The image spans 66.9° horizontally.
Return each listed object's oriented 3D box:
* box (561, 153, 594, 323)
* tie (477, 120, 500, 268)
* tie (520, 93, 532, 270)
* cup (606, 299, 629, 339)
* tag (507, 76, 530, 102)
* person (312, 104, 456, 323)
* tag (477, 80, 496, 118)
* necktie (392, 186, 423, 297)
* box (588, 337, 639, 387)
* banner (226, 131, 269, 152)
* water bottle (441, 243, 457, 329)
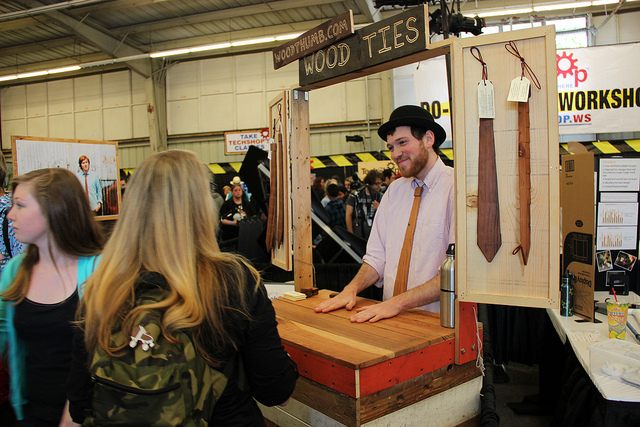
[{"bbox_3d":[1.838,0.154,3.482,0.145,1.143,0.453,-3,5,-3],"label":"box"},{"bbox_3d":[0.887,-0.160,2.588,0.015,0.855,0.133,-2,0,-39],"label":"tie"},{"bbox_3d":[1.075,-0.152,2.539,0.057,0.850,0.064,0,6,21],"label":"tie"},{"bbox_3d":[1.886,0.667,3.085,0.106,0.235,0.294,1,7,32],"label":"cup"},{"bbox_3d":[1.032,-0.651,2.519,0.119,0.172,0.014,4,-13,11],"label":"tag"},{"bbox_3d":[0.497,-0.027,3.101,0.760,1.315,0.758,0,6,20],"label":"person"},{"bbox_3d":[0.875,-0.605,2.561,0.083,0.200,0.043,-1,6,14],"label":"tag"},{"bbox_3d":[0.573,0.180,3.124,0.218,0.693,0.094,-5,6,-29],"label":"necktie"},{"bbox_3d":[1.607,0.791,2.640,0.210,0.135,0.212,-3,3,-31],"label":"box"},{"bbox_3d":[-1.995,-1.960,13.276,1.094,0.540,0.399,0,6,21],"label":"banner"},{"bbox_3d":[0.707,0.406,2.682,0.082,0.458,0.078,-2,5,0],"label":"water bottle"}]
